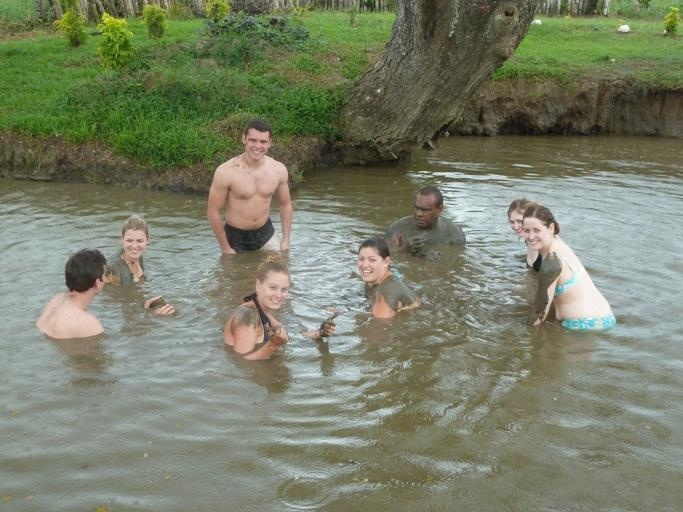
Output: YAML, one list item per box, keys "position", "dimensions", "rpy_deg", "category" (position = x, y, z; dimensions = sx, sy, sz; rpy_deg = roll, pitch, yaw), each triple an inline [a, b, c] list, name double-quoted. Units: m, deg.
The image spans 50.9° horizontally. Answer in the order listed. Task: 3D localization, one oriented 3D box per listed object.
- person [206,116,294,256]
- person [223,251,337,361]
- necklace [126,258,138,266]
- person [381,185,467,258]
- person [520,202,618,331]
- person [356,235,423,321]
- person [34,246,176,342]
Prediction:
- position: [-1.324, -0.814, 10.394]
  dimensions: [1.239, 1.586, 0.456]
  rpy_deg: [-7, 20, -13]
  category: "person"
- position: [-0.726, 0.618, 8.209]
  dimensions: [1.177, 1.177, 1.188]
  rpy_deg: [13, 16, 30]
  category: "person"
- position: [-2.775, 0.066, 9.501]
  dimensions: [0.105, 0.074, 0.100]
  rpy_deg: [4, 22, -2]
  category: "necklace"
- position: [1.321, -0.594, 11.173]
  dimensions: [1.253, 1.005, 0.667]
  rpy_deg: [11, 23, 24]
  category: "person"
- position: [2.730, 0.189, 8.794]
  dimensions: [1.168, 1.681, 0.955]
  rpy_deg: [5, 26, 27]
  category: "person"
- position: [0.622, 0.283, 9.101]
  dimensions: [0.764, 1.037, 0.873]
  rpy_deg: [-6, 19, -10]
  category: "person"
- position: [-2.808, 0.372, 8.563]
  dimensions: [0.815, 0.907, 1.583]
  rpy_deg: [28, 27, 38]
  category: "person"
